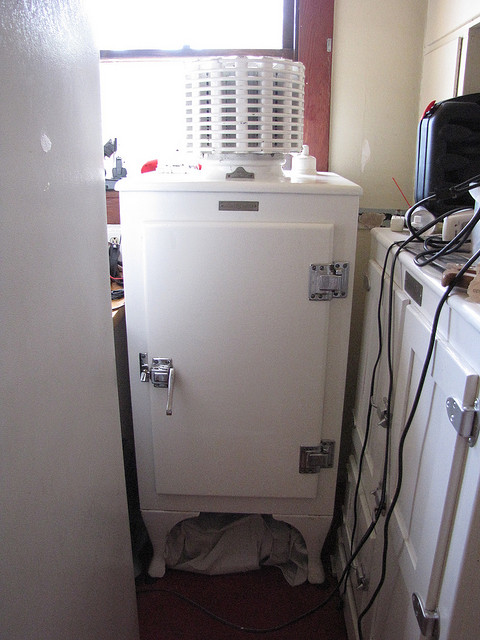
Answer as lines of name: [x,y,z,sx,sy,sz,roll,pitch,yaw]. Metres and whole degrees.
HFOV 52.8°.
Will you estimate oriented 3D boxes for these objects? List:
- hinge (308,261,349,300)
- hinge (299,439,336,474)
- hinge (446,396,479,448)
hinge: [0.218,-0.105,1.221,0.062,0.094,0.016,-1,13,-5]
hinge: [0.219,0.396,1.392,0.071,0.110,0.027,-1,16,-6]
hinge: [0.275,0.125,0.597,0.015,0.062,0.052,1,17,7]
